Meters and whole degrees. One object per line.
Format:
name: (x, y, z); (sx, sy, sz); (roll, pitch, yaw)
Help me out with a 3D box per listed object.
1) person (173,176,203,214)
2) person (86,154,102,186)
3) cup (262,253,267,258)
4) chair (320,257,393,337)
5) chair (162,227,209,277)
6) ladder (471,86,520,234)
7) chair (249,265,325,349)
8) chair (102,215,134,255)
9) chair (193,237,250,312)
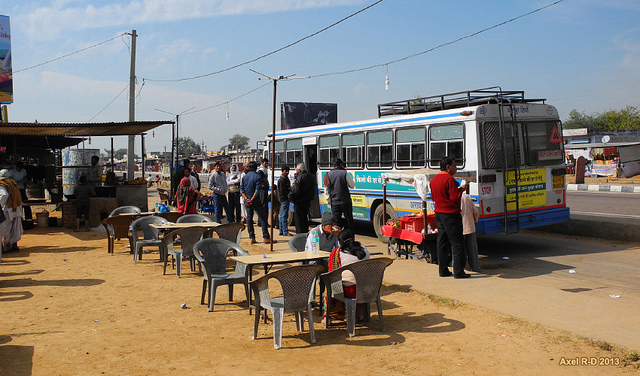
person: (-4.607, 0.280, 17.447); (0.749, 1.298, 0.754); (-5, 12, -16)
person: (-10.259, -0.750, 22.908); (0.584, 1.448, 2.026); (-7, 12, -23)
cup: (-1.293, 1.546, 11.511); (0.078, 0.113, 0.077); (0, 3, 0)
chair: (0.868, 2.248, 11.105); (1.563, 1.741, 1.398); (-2, 4, -36)
chair: (-3.943, 1.800, 14.385); (1.008, 1.127, 0.927); (1, -4, -44)
ladder: (5.601, -0.745, 15.055); (0.783, 4.137, 1.160); (2, 12, 19)
chair: (-0.686, 2.416, 10.716); (1.448, 1.689, 1.558); (-1, -2, 32)
chair: (-6.812, 1.542, 17.196); (1.173, 1.361, 1.118); (0, 7, -10)
chair: (-2.053, 2.103, 12.476); (1.813, 1.962, 1.518); (2, -10, -29)
